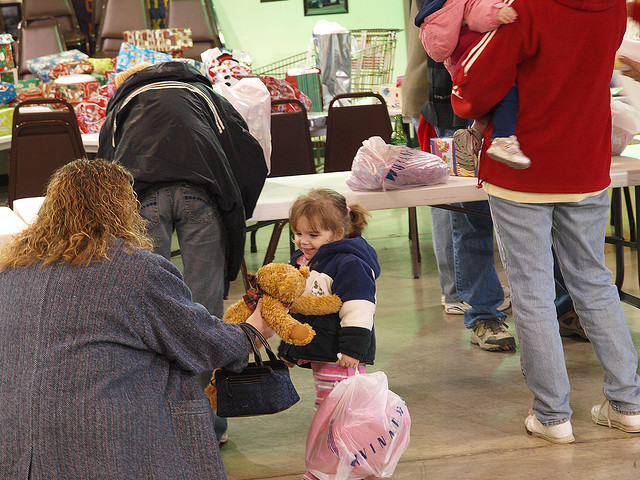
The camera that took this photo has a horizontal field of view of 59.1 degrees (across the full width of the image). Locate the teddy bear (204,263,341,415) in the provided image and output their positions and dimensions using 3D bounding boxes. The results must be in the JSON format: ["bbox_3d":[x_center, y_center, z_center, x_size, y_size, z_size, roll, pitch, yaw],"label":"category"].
[{"bbox_3d":[-0.178,0.303,1.930,0.442,0.409,0.325,3,6,15],"label":"teddy bear"}]

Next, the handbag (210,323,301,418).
[{"bbox_3d":[-0.234,0.430,1.869,0.276,0.284,0.126,-12,-4,20],"label":"handbag"}]

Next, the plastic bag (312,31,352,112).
[{"bbox_3d":[0.225,-2.541,8.341,0.555,1.079,0.407,-7,13,3],"label":"plastic bag"}]

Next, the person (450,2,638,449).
[{"bbox_3d":[0.895,-0.015,2.206,0.658,1.730,0.400,-5,13,12],"label":"person"}]

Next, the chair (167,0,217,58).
[{"bbox_3d":[-1.567,-2.569,6.878,0.559,0.724,0.450,-9,13,-10],"label":"chair"}]

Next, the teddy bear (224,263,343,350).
[{"bbox_3d":[-0.158,0.211,1.934,0.403,0.204,0.260,-5,13,31],"label":"teddy bear"}]

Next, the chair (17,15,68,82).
[{"bbox_3d":[-3.528,-2.385,7.003,0.620,0.785,0.652,-15,15,-34],"label":"chair"}]

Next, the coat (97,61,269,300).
[{"bbox_3d":[-0.608,-0.197,2.550,0.759,1.251,0.531,-5,-5,-11],"label":"coat"}]
